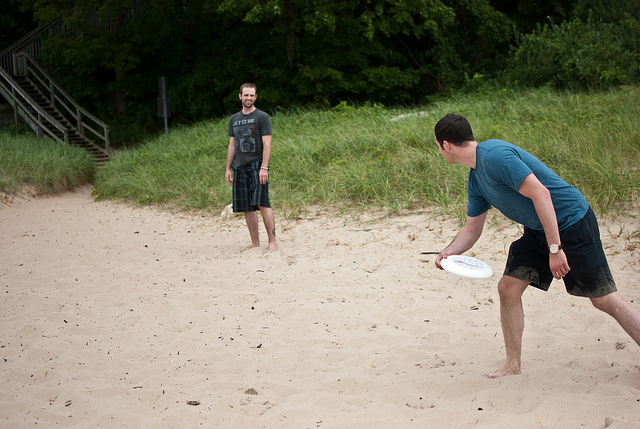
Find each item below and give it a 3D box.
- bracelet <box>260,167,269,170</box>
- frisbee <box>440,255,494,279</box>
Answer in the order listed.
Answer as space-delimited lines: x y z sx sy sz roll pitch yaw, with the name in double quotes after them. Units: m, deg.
-1.045 -0.856 13.636 0.168 0.039 0.085 5 19 42 "bracelet"
2.090 0.763 10.680 0.687 0.333 0.414 -6 14 8 "frisbee"
